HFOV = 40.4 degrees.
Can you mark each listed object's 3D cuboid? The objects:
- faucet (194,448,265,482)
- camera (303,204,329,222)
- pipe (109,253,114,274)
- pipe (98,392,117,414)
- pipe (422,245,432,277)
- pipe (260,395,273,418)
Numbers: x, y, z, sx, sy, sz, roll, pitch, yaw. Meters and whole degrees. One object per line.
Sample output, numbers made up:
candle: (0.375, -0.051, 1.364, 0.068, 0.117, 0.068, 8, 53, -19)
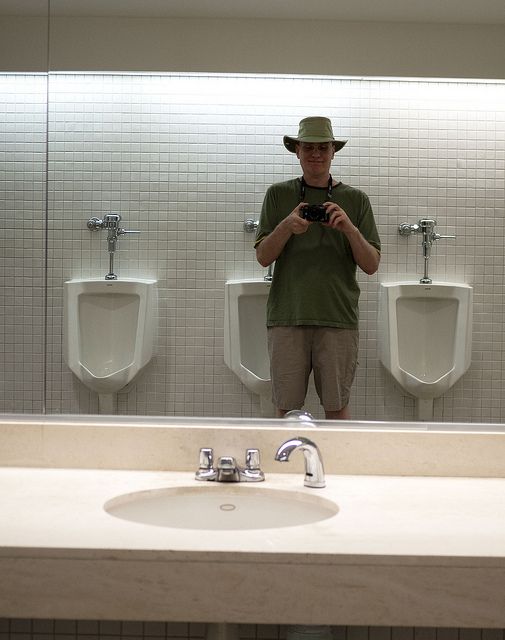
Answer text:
faucet: (-0.049, 0.305, 1.473, 0.149, 0.066, 0.136, 1, 2, -1)
camera: (0.152, -0.254, 1.629, 0.058, 0.045, 0.036, 1, 5, 8)
pipe: (-0.337, -0.135, 1.639, 0.010, 0.049, 0.004, 1, 1, -10)
pipe: (-0.345, 0.199, 1.625, 0.040, 0.082, 0.041, 3, -6, -27)
pipe: (0.420, -0.142, 1.647, 0.021, 0.077, 0.013, 1, 1, 7)
pipe: (0.033, 0.204, 1.621, 0.030, 0.050, 0.012, 1, 1, -1)
